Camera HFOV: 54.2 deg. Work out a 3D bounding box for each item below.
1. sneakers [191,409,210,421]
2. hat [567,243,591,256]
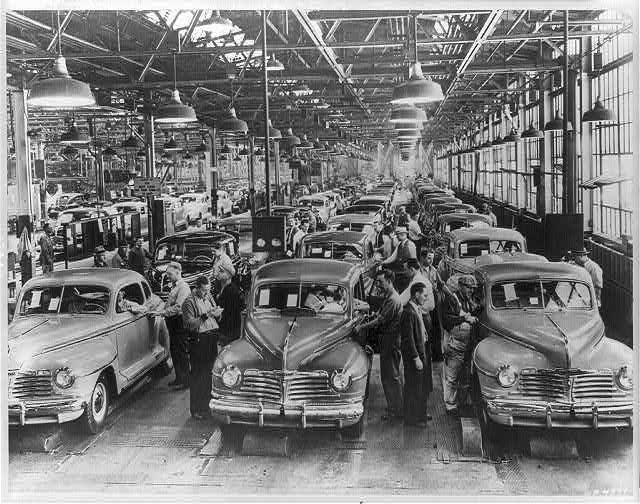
[{"bbox_3d":[-1.855,2.535,9.758,0.163,0.123,0.193,2,2,8],"label":"sneakers"},{"bbox_3d":[4.456,0.005,10.760,0.332,0.139,0.368,-1,4,23],"label":"hat"}]
